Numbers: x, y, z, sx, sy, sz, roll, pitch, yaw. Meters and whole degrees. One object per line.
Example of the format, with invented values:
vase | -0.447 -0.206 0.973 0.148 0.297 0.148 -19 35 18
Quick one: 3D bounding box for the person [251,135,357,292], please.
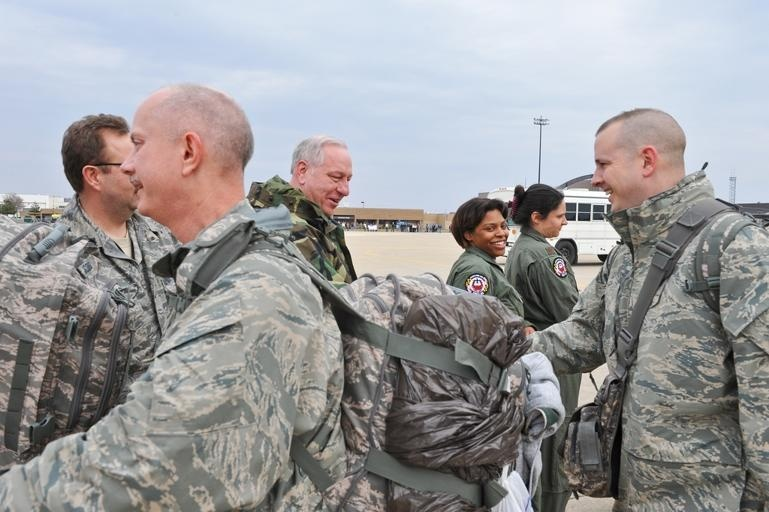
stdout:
person | -0.449 -0.215 3.977 0.493 0.725 0.880 -2 15 -5
